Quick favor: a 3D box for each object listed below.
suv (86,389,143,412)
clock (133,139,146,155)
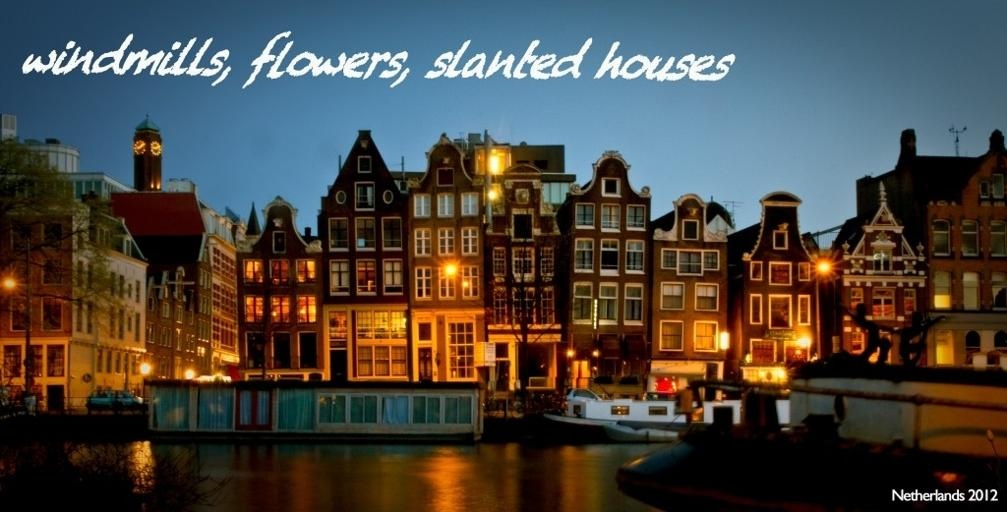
[{"bbox_3d":[-29.838,11.467,119.612,3.465,1.341,2.111,0,-3,-1],"label":"suv"},{"bbox_3d":[-40.530,-12.131,173.621,1.443,1.520,0.491,-4,-7,27],"label":"clock"}]
